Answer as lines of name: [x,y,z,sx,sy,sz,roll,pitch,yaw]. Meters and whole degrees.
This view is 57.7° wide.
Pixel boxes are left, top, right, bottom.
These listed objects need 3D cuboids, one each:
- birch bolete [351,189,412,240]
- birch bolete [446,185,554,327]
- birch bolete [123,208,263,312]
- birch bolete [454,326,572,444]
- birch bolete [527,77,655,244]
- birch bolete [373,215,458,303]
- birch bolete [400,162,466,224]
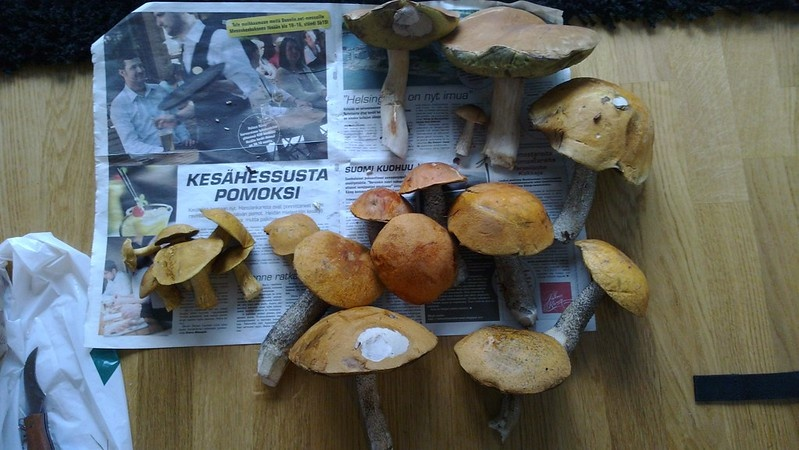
birch bolete: [-0.070,-0.062,2.662,0.202,0.159,0.199,-4,11,-26]
birch bolete: [0.415,0.140,2.701,0.347,0.569,0.359,-12,35,-4]
birch bolete: [-0.694,0.168,2.690,0.455,0.351,0.235,-10,-39,16]
birch bolete: [0.371,0.557,2.526,0.286,0.249,0.278,10,40,6]
birch bolete: [0.712,-0.252,2.740,0.465,0.591,0.461,0,26,-6]
birch bolete: [0.061,0.110,2.503,0.311,0.287,0.163,-8,-2,-5]
birch bolete: [0.103,-0.151,2.712,0.257,0.248,0.216,-12,22,3]
